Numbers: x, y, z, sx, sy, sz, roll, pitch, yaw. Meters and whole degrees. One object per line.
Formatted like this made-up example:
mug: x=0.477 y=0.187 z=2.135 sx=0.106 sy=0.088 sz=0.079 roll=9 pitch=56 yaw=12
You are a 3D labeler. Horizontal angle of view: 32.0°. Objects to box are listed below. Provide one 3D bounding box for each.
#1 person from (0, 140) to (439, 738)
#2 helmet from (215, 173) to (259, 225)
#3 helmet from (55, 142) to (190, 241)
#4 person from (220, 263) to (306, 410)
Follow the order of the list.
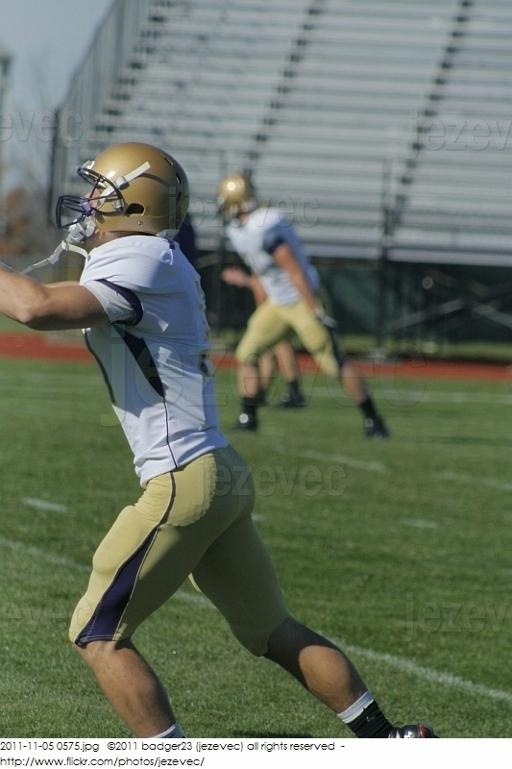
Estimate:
person: x=-0.222 y=0.145 z=2.043 sx=0.919 sy=1.367 sz=0.524 roll=14 pitch=15 yaw=31
helmet: x=-0.067 y=-0.688 z=3.354 sx=0.161 sy=0.163 sz=0.095 roll=10 pitch=21 yaw=14
helmet: x=-0.349 y=-0.452 z=2.147 sx=0.332 sy=0.182 sz=0.249 roll=3 pitch=3 yaw=4
person: x=0.039 y=-0.172 z=3.563 sx=0.284 sy=0.161 sz=0.701 roll=-8 pitch=26 yaw=4
